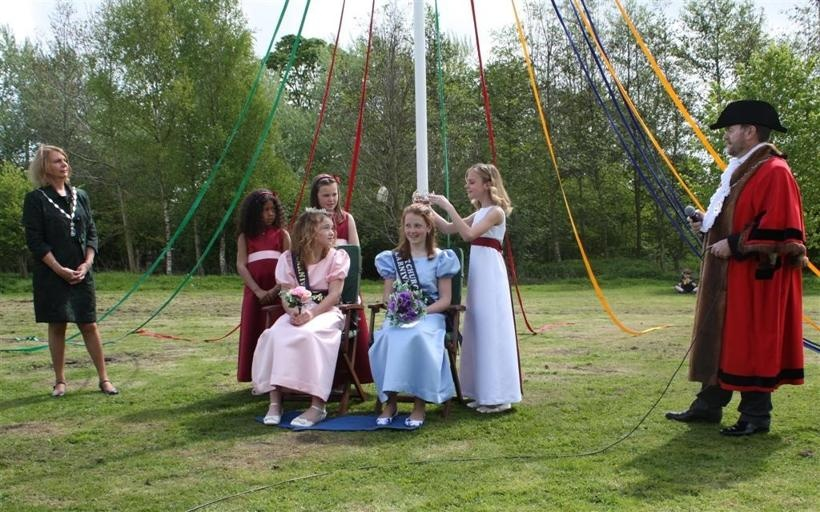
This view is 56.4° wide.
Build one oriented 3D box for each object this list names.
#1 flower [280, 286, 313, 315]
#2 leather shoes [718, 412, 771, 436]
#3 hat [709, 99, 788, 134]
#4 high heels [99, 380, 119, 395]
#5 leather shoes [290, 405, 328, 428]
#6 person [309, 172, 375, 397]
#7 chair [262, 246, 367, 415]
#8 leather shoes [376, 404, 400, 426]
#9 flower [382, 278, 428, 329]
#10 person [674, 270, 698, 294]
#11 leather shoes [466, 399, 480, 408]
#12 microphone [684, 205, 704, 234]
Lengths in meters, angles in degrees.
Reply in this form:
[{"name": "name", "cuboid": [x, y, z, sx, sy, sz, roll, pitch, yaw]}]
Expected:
[{"name": "flower", "cuboid": [-1.378, 0.534, 9.825, 0.421, 0.353, 0.347, 14, 17, 6]}, {"name": "leather shoes", "cuboid": [4.042, 2.054, 9.315, 0.707, 0.245, 0.215, 1, -5, -1]}, {"name": "hat", "cuboid": [4.229, -1.718, 9.635, 0.916, 0.350, 1.056, 1, 4, -17]}, {"name": "high heels", "cuboid": [-4.006, 1.768, 10.278, 0.292, 0.106, 0.152, 3, 5, 42]}, {"name": "leather shoes", "cuboid": [-1.238, 2.013, 9.556, 0.436, 0.161, 0.203, 0, -4, -41]}, {"name": "person", "cuboid": [-1.059, 0.176, 10.694, 1.049, 2.626, 0.892, -6, 24, -6]}, {"name": "chair", "cuboid": [-1.242, 0.894, 10.408, 1.870, 2.085, 1.736, 3, -4, 11]}, {"name": "leather shoes", "cuboid": [-0.268, 2.008, 9.549, 0.146, 0.131, 0.351, -4, -8, 18]}, {"name": "flower", "cuboid": [-0.039, 0.612, 9.577, 0.596, 0.486, 0.291, 2, 7, 15]}, {"name": "person", "cuboid": [8.118, 0.783, 22.608, 0.831, 0.674, 0.568, 0, 0, 21]}, {"name": "leather shoes", "cuboid": [0.830, 1.923, 9.944, 0.177, 0.043, 0.159, 2, 3, 8]}, {"name": "microphone", "cuboid": [3.540, -0.467, 9.572, 0.153, 0.427, 0.140, -18, 30, 34]}]
